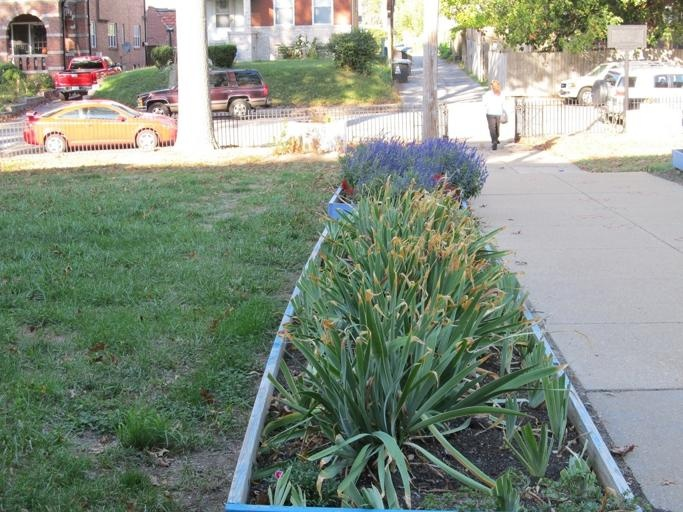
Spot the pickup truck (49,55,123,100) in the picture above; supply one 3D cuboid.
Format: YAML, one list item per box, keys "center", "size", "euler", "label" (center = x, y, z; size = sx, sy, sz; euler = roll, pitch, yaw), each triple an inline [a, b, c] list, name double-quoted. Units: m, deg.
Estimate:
- center: [-14.228, -9.873, 36.219]
  size: [2.300, 2.402, 4.027]
  euler: [-7, 12, -11]
  label: "pickup truck"

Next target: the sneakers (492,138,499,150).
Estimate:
- center: [4.078, -2.918, 17.457]
  size: [0.117, 0.193, 0.418]
  euler: [-6, -10, 11]
  label: "sneakers"

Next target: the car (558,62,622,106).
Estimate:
- center: [11.527, -7.502, 28.990]
  size: [3.392, 2.046, 2.097]
  euler: [1, 17, 9]
  label: "car"

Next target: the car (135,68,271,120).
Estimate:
- center: [-5.744, -6.132, 27.628]
  size: [5.732, 2.754, 2.916]
  euler: [0, 21, -5]
  label: "car"
